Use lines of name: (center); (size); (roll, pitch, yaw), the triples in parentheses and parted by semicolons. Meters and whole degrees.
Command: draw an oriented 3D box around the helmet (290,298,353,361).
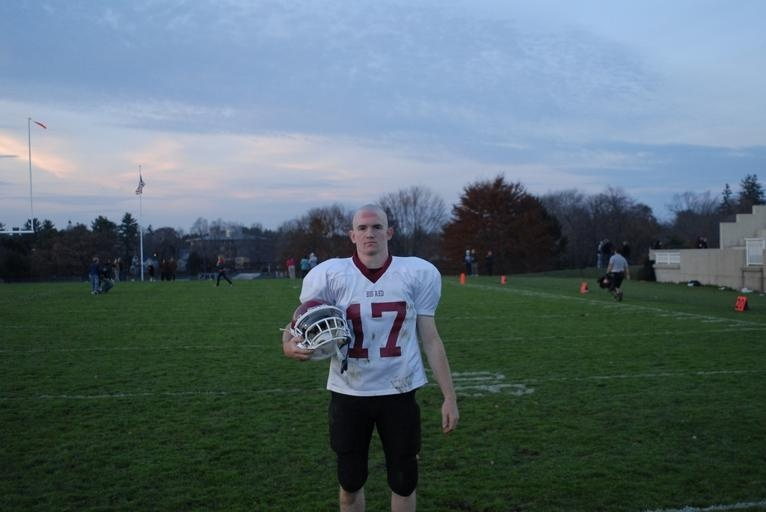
helmet: (-0.619, 0.752, 7.648); (0.547, 0.474, 0.633); (-6, -25, -5)
